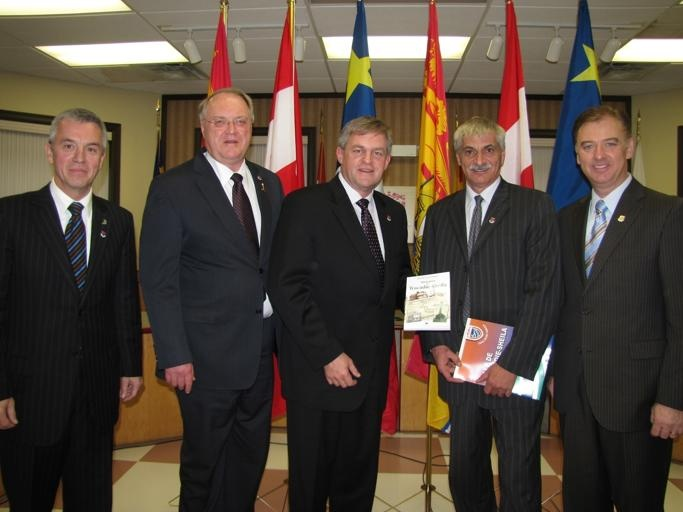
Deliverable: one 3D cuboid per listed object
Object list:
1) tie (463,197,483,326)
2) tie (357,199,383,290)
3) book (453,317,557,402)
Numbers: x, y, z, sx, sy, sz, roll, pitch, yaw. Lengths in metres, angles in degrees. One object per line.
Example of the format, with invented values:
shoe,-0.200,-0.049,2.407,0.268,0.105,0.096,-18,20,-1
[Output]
tie,0.746,-0.038,3.324,0.079,0.910,0.064,0,-16,15
tie,0.149,-0.136,3.319,0.078,0.644,0.080,-9,-23,-3
book,0.875,0.558,3.167,0.528,0.423,0.090,1,2,2
